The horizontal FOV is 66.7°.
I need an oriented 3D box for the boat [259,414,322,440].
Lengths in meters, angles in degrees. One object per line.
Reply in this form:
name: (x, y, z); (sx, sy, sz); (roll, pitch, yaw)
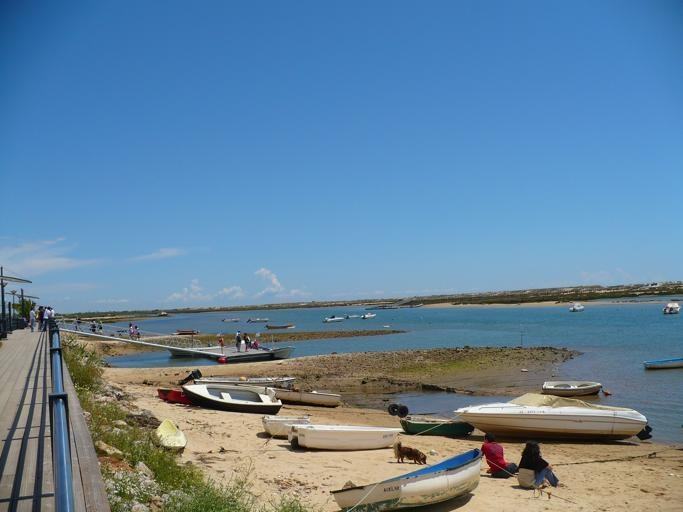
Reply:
boat: (-2.142, 6.522, 19.715); (1.426, 0.344, 1.026); (2, -3, -25)

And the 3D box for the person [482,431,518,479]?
person: (4.926, 6.546, 17.065); (1.171, 1.264, 1.030); (-18, -24, 13)

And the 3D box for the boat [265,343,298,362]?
boat: (-5.387, 9.208, 49.661); (1.539, 0.738, 3.230); (-4, -3, 34)

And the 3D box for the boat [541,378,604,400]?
boat: (12.978, 7.542, 29.491); (3.099, 0.729, 1.969); (-3, 3, 2)

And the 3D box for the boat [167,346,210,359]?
boat: (-14.704, 9.301, 49.834); (4.236, 0.663, 1.787); (5, -9, 0)

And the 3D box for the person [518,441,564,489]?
person: (5.852, 6.430, 16.045); (1.458, 1.191, 1.000); (8, -8, -29)
